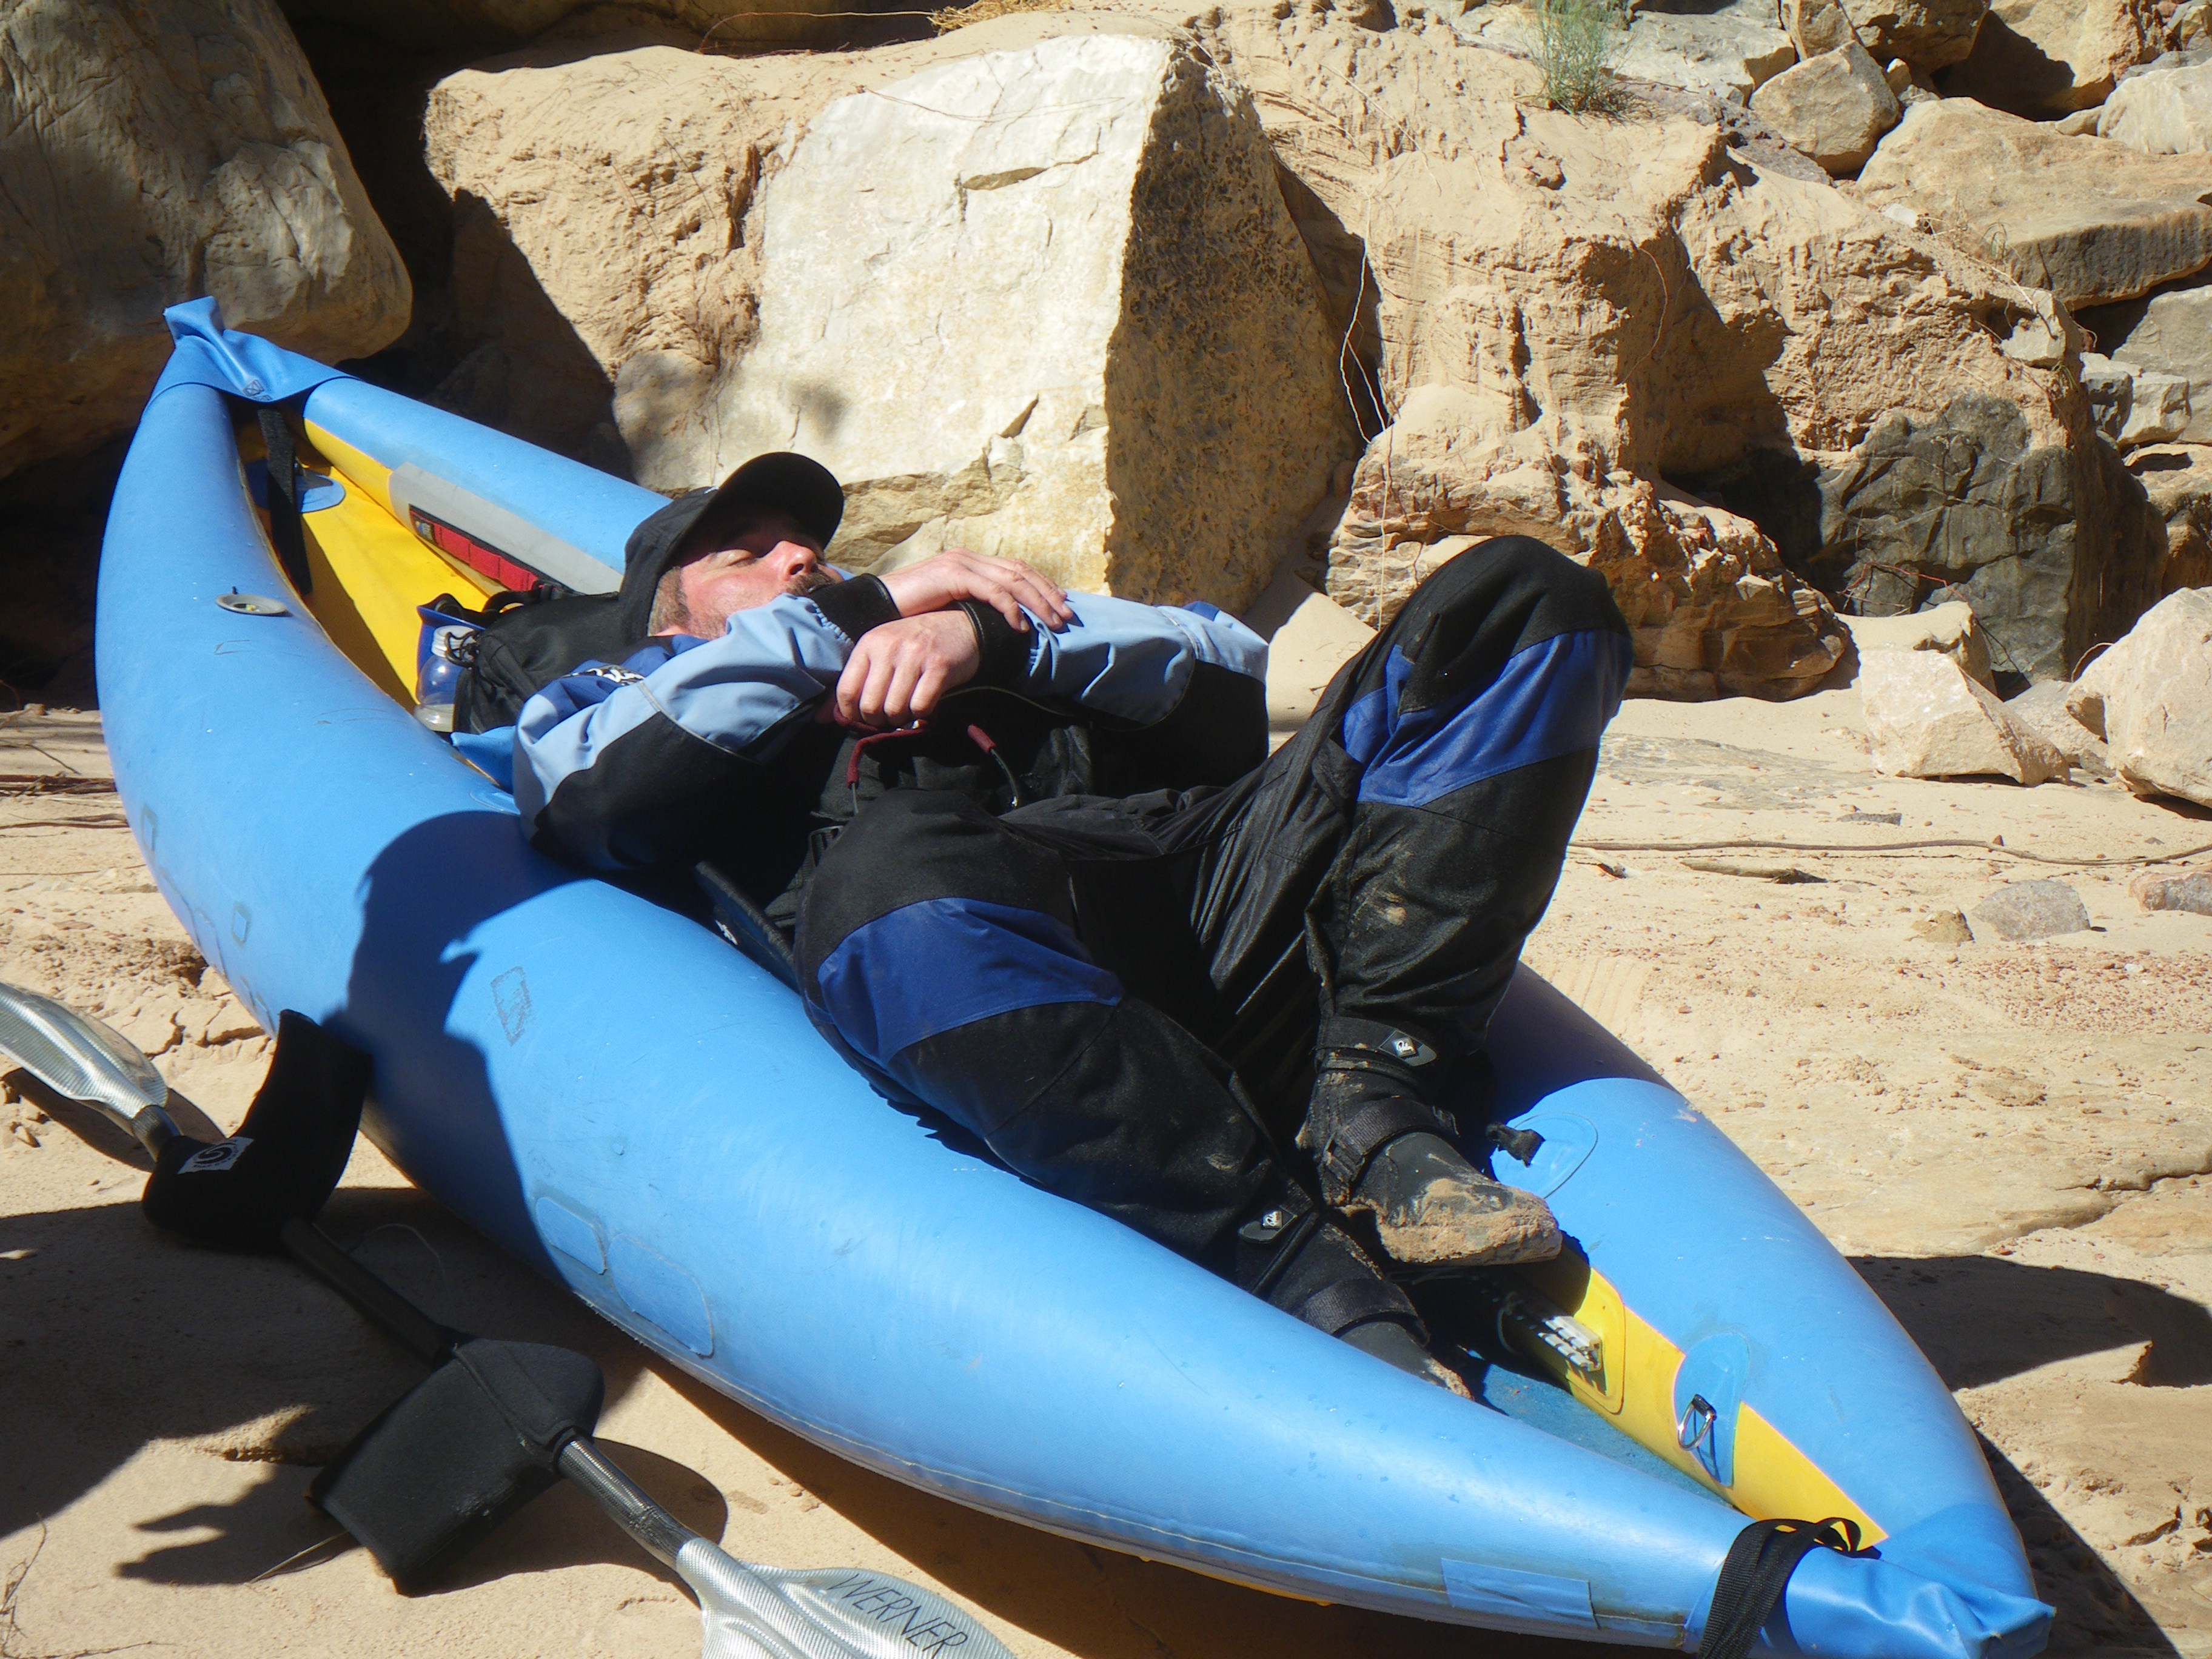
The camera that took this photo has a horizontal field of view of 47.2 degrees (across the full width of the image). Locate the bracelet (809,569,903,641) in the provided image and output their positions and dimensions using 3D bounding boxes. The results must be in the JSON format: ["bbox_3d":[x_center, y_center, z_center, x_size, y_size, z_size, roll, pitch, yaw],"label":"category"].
[{"bbox_3d":[-0.445,-0.401,4.541,0.152,0.083,0.115,14,18,43],"label":"bracelet"}]

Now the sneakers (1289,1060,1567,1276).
[{"bbox_3d":[0.498,0.512,4.273,0.209,0.282,0.561,-43,35,-10],"label":"sneakers"}]

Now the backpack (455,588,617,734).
[{"bbox_3d":[-1.118,-0.338,4.898,0.330,0.118,0.244,-20,44,15],"label":"backpack"}]
